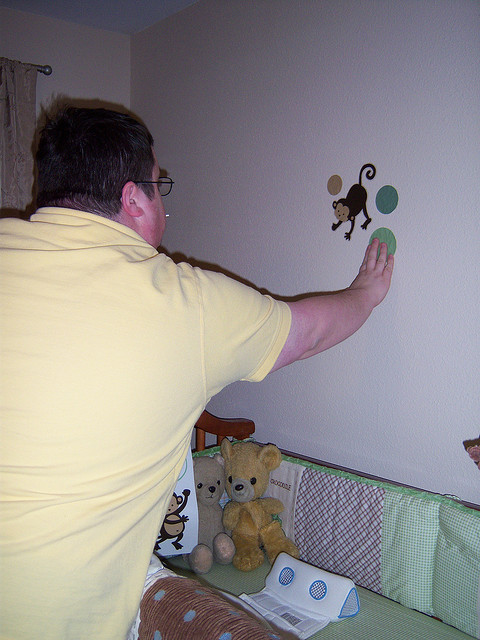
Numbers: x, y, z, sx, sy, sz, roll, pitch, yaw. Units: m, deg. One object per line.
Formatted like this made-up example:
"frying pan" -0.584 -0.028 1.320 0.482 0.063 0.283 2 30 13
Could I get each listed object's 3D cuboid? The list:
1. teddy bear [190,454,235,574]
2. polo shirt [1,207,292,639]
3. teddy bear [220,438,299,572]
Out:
"teddy bear" -0.100 0.564 1.598 0.191 0.309 0.187 4 -2 -4
"polo shirt" -0.115 0.146 0.645 0.349 0.541 0.157 1 10 0
"teddy bear" 0.032 0.513 1.659 0.320 0.344 0.215 -3 6 -44
